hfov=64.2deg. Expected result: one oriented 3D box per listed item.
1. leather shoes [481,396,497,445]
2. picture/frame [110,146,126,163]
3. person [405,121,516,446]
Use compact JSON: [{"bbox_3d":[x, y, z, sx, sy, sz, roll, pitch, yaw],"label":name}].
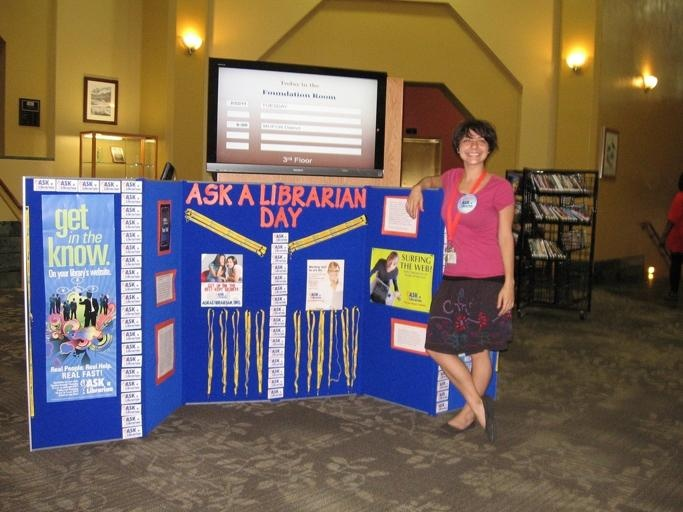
[{"bbox_3d":[0.957,1.060,3.527,0.077,0.290,0.088,1,-1,-13],"label":"leather shoes"},{"bbox_3d":[-3.907,-1.753,9.459,0.260,0.370,0.034,-3,-7,-33],"label":"picture/frame"},{"bbox_3d":[0.851,0.135,3.554,0.533,2.017,0.310,4,7,17],"label":"person"}]
